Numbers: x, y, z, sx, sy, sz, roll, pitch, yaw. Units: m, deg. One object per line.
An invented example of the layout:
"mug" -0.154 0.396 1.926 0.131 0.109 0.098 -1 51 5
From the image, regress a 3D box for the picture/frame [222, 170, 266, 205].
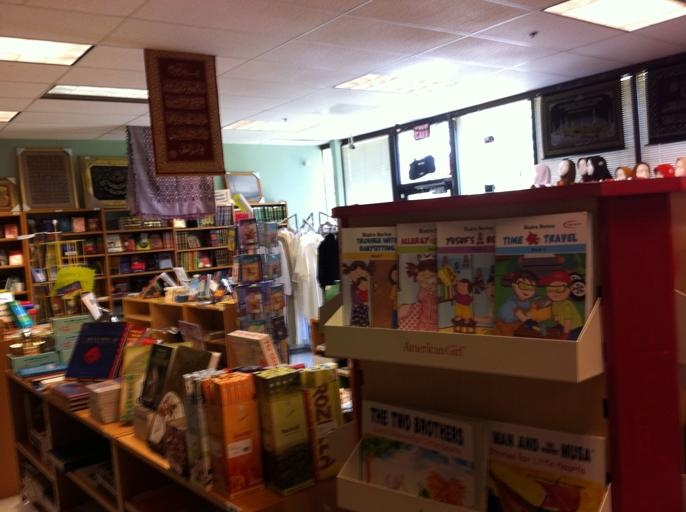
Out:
"picture/frame" -1.821 -1.214 9.260 0.910 0.737 0.129 -1 -10 -40
